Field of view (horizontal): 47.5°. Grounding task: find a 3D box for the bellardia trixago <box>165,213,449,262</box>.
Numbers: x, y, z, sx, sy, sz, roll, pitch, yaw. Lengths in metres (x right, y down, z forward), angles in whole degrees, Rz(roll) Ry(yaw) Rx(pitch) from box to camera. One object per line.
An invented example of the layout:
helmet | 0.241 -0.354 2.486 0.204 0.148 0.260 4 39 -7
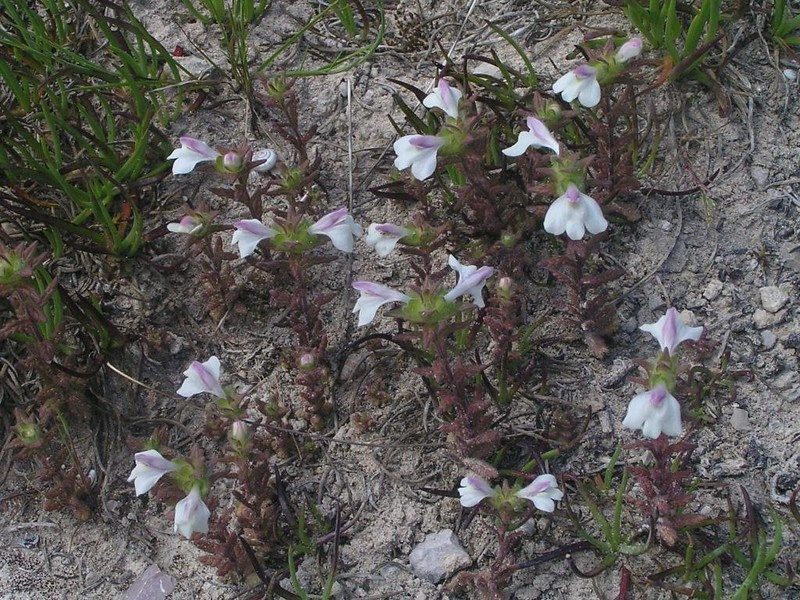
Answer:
bellardia trixago | -0.399 -0.289 4.243 0.687 0.170 0.192 3 22 7

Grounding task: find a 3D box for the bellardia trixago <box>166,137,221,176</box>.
bellardia trixago | -0.954 -0.618 4.177 0.196 0.077 0.215 -26 71 -3

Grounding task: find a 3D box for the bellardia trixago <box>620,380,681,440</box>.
bellardia trixago | 0.993 0.442 3.524 0.173 0.085 0.238 11 87 7

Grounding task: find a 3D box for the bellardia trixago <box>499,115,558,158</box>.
bellardia trixago | 0.575 -0.673 3.924 0.177 0.094 0.195 21 70 17

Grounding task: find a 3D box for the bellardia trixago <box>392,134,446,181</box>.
bellardia trixago | 0.070 -0.604 3.912 0.181 0.092 0.204 16 76 -10

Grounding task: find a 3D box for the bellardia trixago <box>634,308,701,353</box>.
bellardia trixago | 1.110 0.127 3.696 0.219 0.225 0.160 -28 79 -5

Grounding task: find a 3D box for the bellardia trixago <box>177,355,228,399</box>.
bellardia trixago | -0.863 0.333 3.975 0.179 0.172 0.196 1 78 0

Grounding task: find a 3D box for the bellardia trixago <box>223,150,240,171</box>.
bellardia trixago | -0.760 -0.618 4.050 0.066 0.086 0.070 1 20 18

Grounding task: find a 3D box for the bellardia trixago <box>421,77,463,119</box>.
bellardia trixago | 0.203 -0.884 3.992 0.175 0.135 0.145 29 80 6

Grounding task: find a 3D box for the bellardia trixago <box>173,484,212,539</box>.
bellardia trixago | -0.892 0.899 3.800 0.136 0.102 0.228 3 71 -22

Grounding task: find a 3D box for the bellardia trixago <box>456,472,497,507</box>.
bellardia trixago | 0.299 0.791 3.728 0.154 0.066 0.134 9 54 -19

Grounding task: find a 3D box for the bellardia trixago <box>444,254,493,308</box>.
bellardia trixago | 0.280 -0.056 3.865 0.179 0.347 0.215 8 78 2

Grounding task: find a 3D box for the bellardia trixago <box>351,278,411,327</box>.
bellardia trixago | -0.096 -0.012 3.799 0.229 0.249 0.180 -22 78 -4
